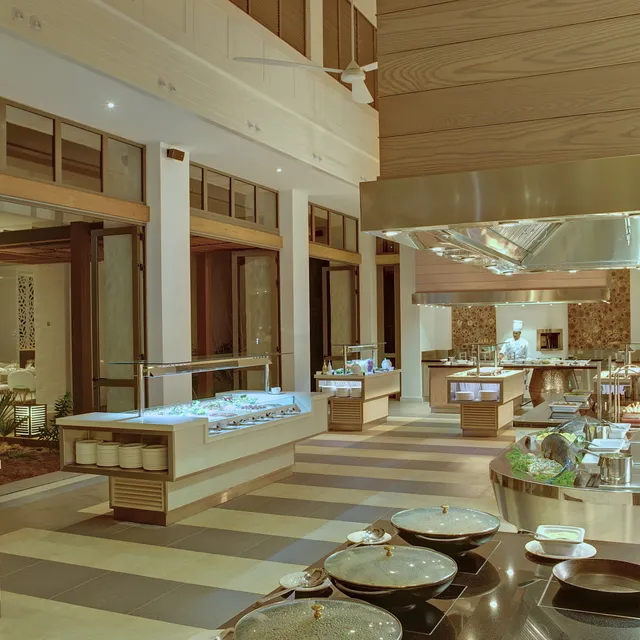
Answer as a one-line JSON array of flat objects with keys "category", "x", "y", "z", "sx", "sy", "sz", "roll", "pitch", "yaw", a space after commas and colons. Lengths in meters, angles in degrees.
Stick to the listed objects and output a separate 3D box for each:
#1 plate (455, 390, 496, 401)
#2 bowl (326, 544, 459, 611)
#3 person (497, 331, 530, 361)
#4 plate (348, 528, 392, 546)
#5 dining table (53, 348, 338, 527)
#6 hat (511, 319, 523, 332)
[{"category": "plate", "x": 2.568, "y": 1.276, "z": 9.754, "sx": 0.632, "sy": 0.178, "sz": 0.635, "roll": 0, "pitch": -2, "yaw": -7}, {"category": "bowl", "x": 0.197, "y": 0.691, "z": 1.549, "sx": 0.317, "sy": 0.117, "sz": 0.398, "roll": -1, "pitch": -4, "yaw": 1}, {"category": "person", "x": 4.380, "y": 0.580, "z": 13.147, "sx": 0.412, "sy": 0.695, "sz": 0.612, "roll": 2, "pitch": -3, "yaw": -30}, {"category": "plate", "x": 0.168, "y": 0.728, "z": 1.909, "sx": 0.084, "sy": 0.010, "sz": 0.074, "roll": 1, "pitch": 1, "yaw": -16}, {"category": "dining table", "x": -1.097, "y": 1.076, "z": 5.657, "sx": 0.981, "sy": 1.409, "sz": 2.394, "roll": -2, "pitch": -3, "yaw": 35}, {"category": "hat", "x": 4.651, "y": 0.143, "z": 13.627, "sx": 0.295, "sy": 0.290, "sz": 0.354, "roll": 2, "pitch": 0, "yaw": 21}]
